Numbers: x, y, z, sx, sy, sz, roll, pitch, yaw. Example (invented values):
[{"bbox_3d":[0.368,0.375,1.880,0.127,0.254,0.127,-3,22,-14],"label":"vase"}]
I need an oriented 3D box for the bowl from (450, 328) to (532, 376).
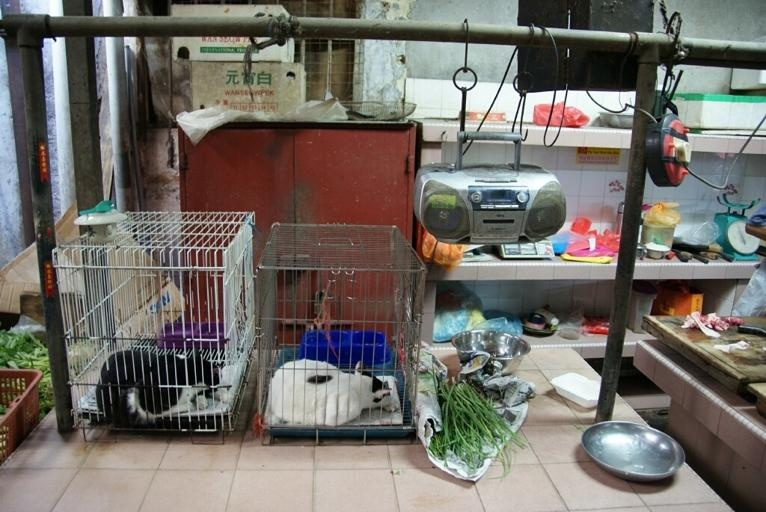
[{"bbox_3d":[0.651,0.555,3.569,0.462,0.237,0.386,1,14,-4],"label":"bowl"}]

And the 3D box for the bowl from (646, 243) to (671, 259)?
[{"bbox_3d":[2.226,-0.051,4.725,0.224,0.112,0.152,3,19,9],"label":"bowl"}]

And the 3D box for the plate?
[{"bbox_3d":[1.255,0.984,2.960,0.477,0.160,0.336,7,19,19],"label":"plate"}]

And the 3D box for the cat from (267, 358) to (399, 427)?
[{"bbox_3d":[-0.310,0.627,3.280,0.874,0.311,0.440,0,13,-3],"label":"cat"}]

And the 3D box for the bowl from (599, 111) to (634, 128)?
[{"bbox_3d":[1.829,-1.085,4.623,0.250,0.123,0.196,11,21,30],"label":"bowl"}]

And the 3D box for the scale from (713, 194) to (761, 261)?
[{"bbox_3d":[2.989,-0.219,4.936,0.283,0.653,0.315,2,-8,3],"label":"scale"}]

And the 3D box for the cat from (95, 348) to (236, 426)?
[{"bbox_3d":[-1.154,0.673,3.059,0.656,0.393,0.254,-4,19,-12],"label":"cat"}]

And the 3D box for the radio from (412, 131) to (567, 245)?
[{"bbox_3d":[0.574,-0.368,3.111,0.708,0.538,0.539,1,21,1],"label":"radio"}]
